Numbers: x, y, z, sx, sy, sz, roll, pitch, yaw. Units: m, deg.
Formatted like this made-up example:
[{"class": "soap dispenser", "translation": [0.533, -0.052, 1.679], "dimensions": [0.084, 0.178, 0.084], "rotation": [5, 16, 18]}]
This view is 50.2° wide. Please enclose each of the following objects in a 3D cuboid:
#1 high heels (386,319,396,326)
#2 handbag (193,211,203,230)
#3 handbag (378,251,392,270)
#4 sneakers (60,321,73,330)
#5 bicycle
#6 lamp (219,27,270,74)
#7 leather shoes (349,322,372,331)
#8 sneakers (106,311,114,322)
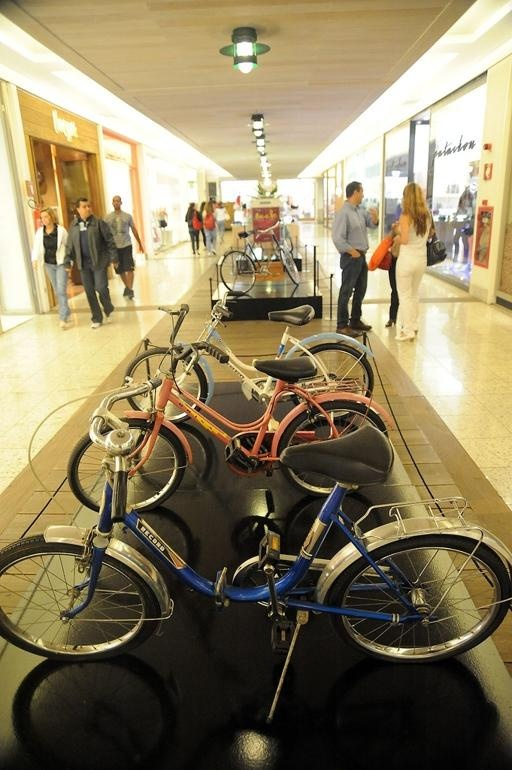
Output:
[{"class": "high heels", "translation": [1.496, -0.685, 6.064], "dimensions": [0.051, 0.069, 0.142], "rotation": [3, 10, 35]}, {"class": "handbag", "translation": [-1.645, -4.623, 15.274], "dimensions": [0.236, 0.500, 0.353], "rotation": [-3, 39, 6]}, {"class": "handbag", "translation": [1.342, -1.277, 5.618], "dimensions": [0.117, 0.196, 0.180], "rotation": [6, -19, 13]}, {"class": "sneakers", "translation": [-2.351, -0.741, 6.791], "dimensions": [0.135, 0.057, 0.142], "rotation": [6, 26, 12]}, {"class": "bicycle", "translation": [-0.073, 0.341, 1.924], "dimensions": [1.621, 0.969, 0.799], "rotation": [1, 23, 3]}, {"class": "lamp", "translation": [-0.082, -2.481, 4.048], "dimensions": [0.304, 0.262, 0.304], "rotation": [-2, 7, -2]}, {"class": "leather shoes", "translation": [1.097, -0.617, 5.783], "dimensions": [0.228, 0.098, 0.090], "rotation": [2, 27, 1]}, {"class": "sneakers", "translation": [-1.898, -0.897, 7.110], "dimensions": [0.064, 0.174, 0.183], "rotation": [5, 3, -4]}]
